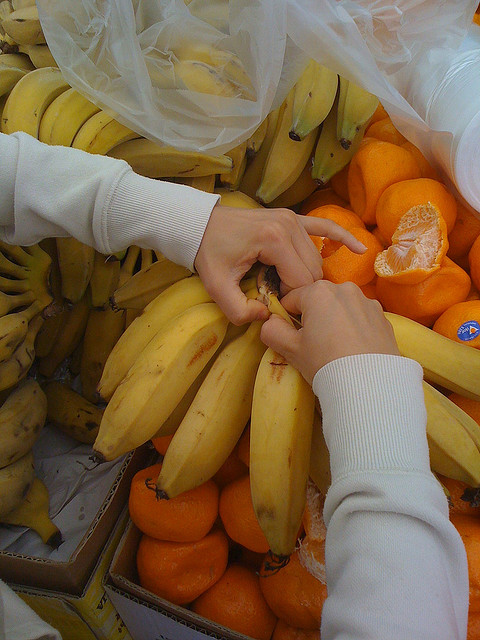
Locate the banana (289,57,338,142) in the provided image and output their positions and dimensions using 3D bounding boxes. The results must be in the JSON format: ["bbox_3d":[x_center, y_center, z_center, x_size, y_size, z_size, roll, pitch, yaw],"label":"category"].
[{"bbox_3d":[0.123,-0.370,0.909,0.061,0.061,0.171,18,69,2],"label":"banana"}]

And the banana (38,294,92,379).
[{"bbox_3d":[-0.380,0.029,1.123,0.052,0.183,0.062,28,19,14],"label":"banana"}]

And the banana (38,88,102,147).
[{"bbox_3d":[-0.279,-0.365,0.934,0.025,0.058,0.103,58,4,-3],"label":"banana"}]

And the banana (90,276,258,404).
[{"bbox_3d":[-0.092,0.027,0.787,0.298,0.104,0.075,-44,25,-14],"label":"banana"}]

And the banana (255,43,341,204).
[{"bbox_3d":[0.069,-0.305,0.930,0.090,0.313,0.115,18,28,1],"label":"banana"}]

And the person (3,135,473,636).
[{"bbox_3d":[-0.011,-0.029,0.788,0.296,0.429,0.906,4,49,-45],"label":"person"}]

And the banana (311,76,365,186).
[{"bbox_3d":[0.159,-0.306,0.931,0.068,0.217,0.081,14,-1,-11],"label":"banana"}]

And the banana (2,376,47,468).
[{"bbox_3d":[-0.411,0.189,0.984,0.079,0.053,0.146,35,46,-29],"label":"banana"}]

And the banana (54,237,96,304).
[{"bbox_3d":[-0.318,-0.085,0.979,0.077,0.126,0.034,4,32,-14],"label":"banana"}]

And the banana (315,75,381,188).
[{"bbox_3d":[0.189,-0.298,0.915,0.069,0.218,0.083,-6,8,-37],"label":"banana"}]

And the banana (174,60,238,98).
[{"bbox_3d":[-0.060,-0.420,0.907,0.112,0.037,0.045,4,39,-9],"label":"banana"}]

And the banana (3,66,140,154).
[{"bbox_3d":[-0.265,-0.359,0.888,0.197,0.155,0.065,-7,11,11],"label":"banana"}]

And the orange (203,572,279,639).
[{"bbox_3d":[0.000,0.489,0.964,0.119,0.108,0.110,12,-2,16],"label":"orange"}]

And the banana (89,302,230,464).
[{"bbox_3d":[-0.112,0.083,0.784,0.105,0.315,0.105,28,-12,19],"label":"banana"}]

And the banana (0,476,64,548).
[{"bbox_3d":[-0.390,0.368,1.005,0.132,0.079,0.035,47,-8,6],"label":"banana"}]

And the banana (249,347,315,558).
[{"bbox_3d":[0.057,0.171,0.733,0.099,0.273,0.079,3,-8,16],"label":"banana"}]

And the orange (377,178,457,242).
[{"bbox_3d":[0.290,-0.201,0.874,0.119,0.106,0.105,12,30,22],"label":"orange"}]

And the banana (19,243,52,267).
[{"bbox_3d":[-0.378,-0.118,0.952,0.069,0.016,0.019,34,-9,-32],"label":"banana"}]

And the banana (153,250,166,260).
[{"bbox_3d":[-0.150,-0.117,0.970,0.022,0.014,0.079,-11,4,-10],"label":"banana"}]

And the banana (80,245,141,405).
[{"bbox_3d":[-0.321,0.068,1.206,0.133,0.459,0.085,5,19,-24],"label":"banana"}]

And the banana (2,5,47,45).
[{"bbox_3d":[-0.425,-0.577,1.010,0.071,0.068,0.176,-8,42,-23],"label":"banana"}]

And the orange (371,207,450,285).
[{"bbox_3d":[0.260,-0.094,0.797,0.056,0.126,0.110,26,44,-35],"label":"orange"}]

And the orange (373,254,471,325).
[{"bbox_3d":[0.292,-0.046,0.849,0.130,0.116,0.116,0,3,7],"label":"orange"}]

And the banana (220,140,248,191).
[{"bbox_3d":[-0.005,-0.275,0.946,0.033,0.040,0.103,29,52,-33],"label":"banana"}]

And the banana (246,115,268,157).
[{"bbox_3d":[0.032,-0.333,0.943,0.025,0.030,0.089,13,57,22],"label":"banana"}]

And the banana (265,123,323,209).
[{"bbox_3d":[0.094,-0.286,0.945,0.051,0.173,0.063,31,7,-4],"label":"banana"}]

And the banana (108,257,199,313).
[{"bbox_3d":[-0.145,-0.058,0.873,0.145,0.058,0.044,-25,55,-4],"label":"banana"}]
